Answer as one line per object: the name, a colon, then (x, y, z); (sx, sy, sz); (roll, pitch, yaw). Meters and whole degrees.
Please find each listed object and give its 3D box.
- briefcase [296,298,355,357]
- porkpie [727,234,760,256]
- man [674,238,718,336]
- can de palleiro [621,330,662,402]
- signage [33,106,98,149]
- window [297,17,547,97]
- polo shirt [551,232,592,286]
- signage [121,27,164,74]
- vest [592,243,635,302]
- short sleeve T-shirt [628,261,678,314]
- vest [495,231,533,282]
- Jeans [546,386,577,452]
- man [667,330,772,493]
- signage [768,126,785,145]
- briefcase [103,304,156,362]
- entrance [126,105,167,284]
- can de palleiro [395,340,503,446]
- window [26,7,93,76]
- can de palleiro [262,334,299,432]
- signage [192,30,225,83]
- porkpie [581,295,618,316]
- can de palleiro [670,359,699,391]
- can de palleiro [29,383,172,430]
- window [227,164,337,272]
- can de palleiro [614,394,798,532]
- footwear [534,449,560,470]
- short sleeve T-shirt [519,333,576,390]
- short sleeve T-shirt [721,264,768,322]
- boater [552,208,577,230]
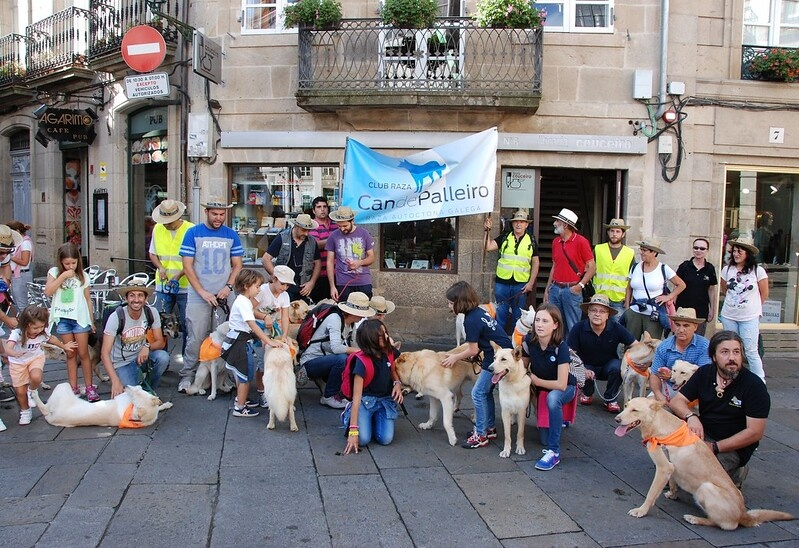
briefcase: (-1.081, 0.757, 10.530); (0.723, 0.821, 0.521); (7, -3, 0)
porkpie: (5.453, -0.508, 11.552); (0.401, 0.143, 0.366); (30, -18, -12)
man: (4.742, 0.487, 12.006); (0.764, 2.102, 0.501); (5, 14, 20)
can de palleiro: (3.313, 1.302, 10.122); (0.208, 0.957, 0.489); (27, 22, 39)
signage: (-7.564, -3.377, 16.713); (0.082, 0.784, 1.056); (2, 7, 44)
window: (0.370, -4.028, 13.930); (4.542, 1.574, 0.836); (0, -3, 2)
polo shirt: (2.927, -0.237, 12.575); (0.437, 0.908, 0.830); (-4, 6, -39)
signage: (-4.855, -4.280, 13.823); (0.870, 0.097, 1.017); (-12, -30, -22)
vest: (3.552, -0.034, 12.420); (0.784, 1.016, 0.519); (8, 5, 28)
short sleeve T-shirt: (3.970, 0.214, 11.788); (0.856, 0.901, 0.452); (0, -11, 43)
vest: (2.051, -0.315, 13.057); (0.621, 0.950, 0.483); (7, 2, 19)
Jeans: (2.009, 1.844, 9.355); (0.194, 0.809, 0.572); (3, 5, 38)
man: (3.770, 1.868, 8.810); (1.113, 2.267, 1.088); (-4, 5, -37)
signage: (7.094, -2.651, 13.899); (0.299, 0.347, 0.038); (1, 9, -1)
briefcase: (-3.814, 0.832, 10.298); (0.556, 0.695, 0.283); (19, 1, -26)
entrance: (-5.723, -2.341, 16.659); (0.228, 3.089, 1.018); (22, 24, 39)
can de palleiro: (0.699, 1.465, 10.076); (2.124, 1.226, 0.646); (-9, -2, -38)
window: (-7.933, -5.397, 17.151); (1.852, 1.446, 0.626); (-4, -5, 38)
can de palleiro: (-1.604, 1.511, 9.872); (0.455, 1.167, 0.630); (-1, 4, -10)
signage: (-3.508, -4.024, 13.629); (0.111, 0.743, 0.959); (-14, 37, -42)
porkpie: (2.848, 0.443, 10.457); (0.478, 0.329, 0.518); (0, 5, 2)
can de palleiro: (3.546, 1.208, 9.202); (0.322, 0.214, 0.349); (-37, 32, -22)
can de palleiro: (-3.939, 1.641, 9.697); (1.263, 0.469, 0.699); (3, 8, -33)
window: (-2.091, -1.091, 13.308); (1.847, 1.742, 0.140); (1, 11, 5)
can de palleiro: (3.418, 2.185, 8.821); (2.343, 1.748, 1.021); (2, 1, 30)
footwear: (1.844, 2.316, 9.181); (0.351, 0.220, 0.234); (0, 5, -3)
short sleeve T-shirt: (1.871, 1.065, 9.497); (0.607, 0.657, 0.353); (8, 37, 28)
short sleeve T-shirt: (5.456, 0.288, 11.686); (0.520, 1.108, 0.864); (-1, 2, -43)
boater: (2.853, -0.976, 12.605); (0.394, 0.162, 0.358); (28, 11, 0)
